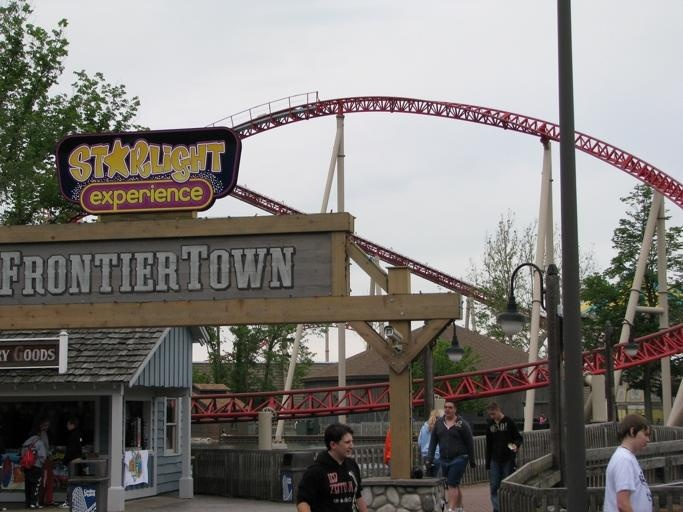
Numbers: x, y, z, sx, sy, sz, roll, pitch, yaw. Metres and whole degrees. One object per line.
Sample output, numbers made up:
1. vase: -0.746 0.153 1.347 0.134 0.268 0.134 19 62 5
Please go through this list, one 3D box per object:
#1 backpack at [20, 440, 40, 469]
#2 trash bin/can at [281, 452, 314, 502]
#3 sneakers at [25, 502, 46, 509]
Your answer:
1. backpack: -7.570 4.862 31.036 0.398 0.623 0.304 -2 -12 1
2. trash bin/can: -1.127 5.675 32.467 0.912 1.256 0.950 -4 -9 16
3. sneakers: -7.450 6.140 31.266 0.452 0.188 0.158 -2 -2 -11
